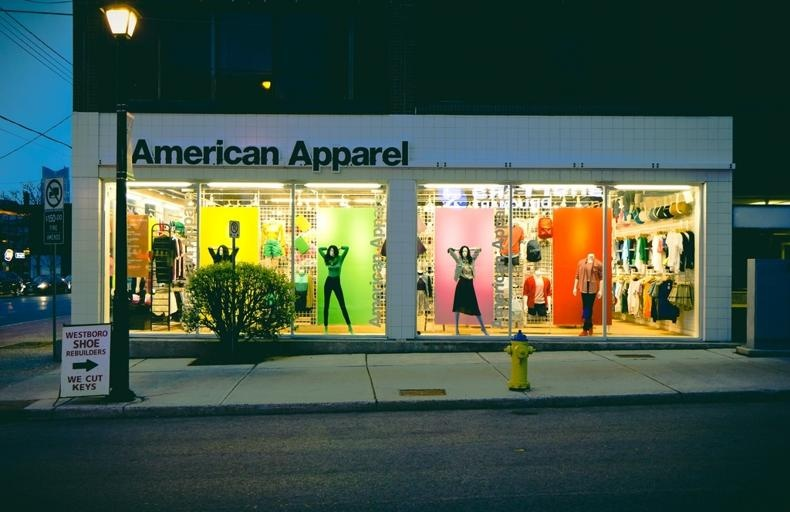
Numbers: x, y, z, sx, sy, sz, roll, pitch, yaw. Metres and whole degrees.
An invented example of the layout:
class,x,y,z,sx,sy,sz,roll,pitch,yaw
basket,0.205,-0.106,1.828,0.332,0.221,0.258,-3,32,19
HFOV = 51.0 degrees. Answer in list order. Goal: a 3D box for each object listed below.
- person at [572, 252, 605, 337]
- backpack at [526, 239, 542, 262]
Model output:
class,x,y,z,sx,sy,sz,roll,pitch,yaw
person,5.778,1.150,24.881,0.897,1.989,0.372,-1,-1,14
backpack,4.163,-0.154,25.046,0.441,0.634,0.632,3,20,7
